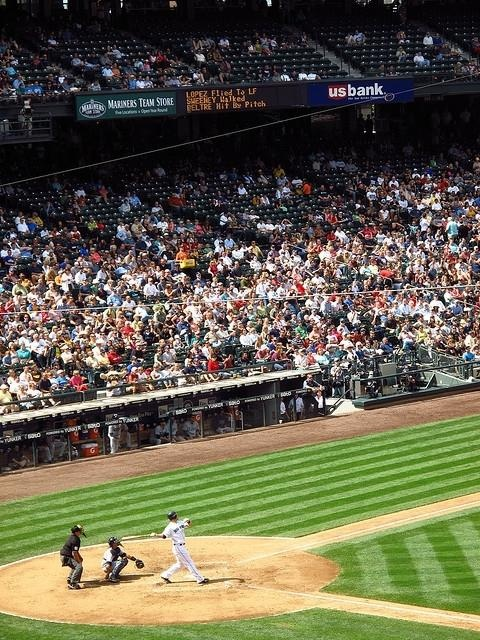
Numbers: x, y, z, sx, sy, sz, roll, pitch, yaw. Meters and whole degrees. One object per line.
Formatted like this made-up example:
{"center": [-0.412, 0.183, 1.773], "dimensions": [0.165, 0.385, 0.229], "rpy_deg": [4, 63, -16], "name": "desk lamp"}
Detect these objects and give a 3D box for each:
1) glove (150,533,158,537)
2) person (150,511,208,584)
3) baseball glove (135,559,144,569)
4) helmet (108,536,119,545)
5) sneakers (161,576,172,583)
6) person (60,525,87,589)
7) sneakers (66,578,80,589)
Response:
{"center": [-1.281, 3.228, 19.784], "dimensions": [0.135, 0.043, 0.142], "rpy_deg": [1, -4, -8], "name": "glove"}
{"center": [-0.882, 3.440, 19.979], "dimensions": [0.736, 1.135, 0.670], "rpy_deg": [-4, 11, 7], "name": "person"}
{"center": [-1.548, 3.767, 20.409], "dimensions": [0.170, 0.162, 0.119], "rpy_deg": [0, 17, -5], "name": "baseball glove"}
{"center": [-1.938, 3.405, 20.371], "dimensions": [0.156, 0.159, 0.309], "rpy_deg": [-3, 7, -5], "name": "helmet"}
{"center": [-1.138, 3.978, 20.297], "dimensions": [0.140, 0.096, 0.046], "rpy_deg": [42, 0, -24], "name": "sneakers"}
{"center": [-2.574, 3.594, 20.367], "dimensions": [0.340, 0.997, 0.663], "rpy_deg": [-3, 8, -7], "name": "person"}
{"center": [-2.526, 4.027, 20.229], "dimensions": [0.245, 0.164, 0.082], "rpy_deg": [0, 6, 14], "name": "sneakers"}
